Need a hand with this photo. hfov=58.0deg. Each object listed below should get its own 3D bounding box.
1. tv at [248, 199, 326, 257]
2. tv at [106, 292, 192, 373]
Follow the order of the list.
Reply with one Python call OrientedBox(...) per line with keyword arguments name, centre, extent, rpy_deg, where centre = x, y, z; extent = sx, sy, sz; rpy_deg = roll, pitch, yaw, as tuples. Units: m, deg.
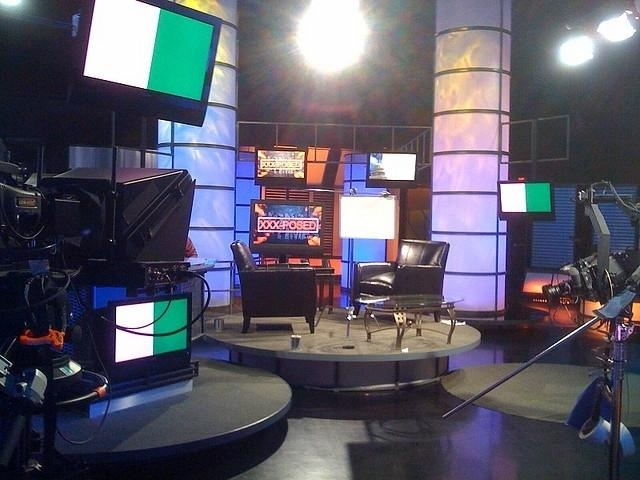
OrientedBox(name="tv", centre=(-0.469, -0.166, 8.175), extent=(0.763, 0.669, 0.274), rpy_deg=(0, 2, -7))
OrientedBox(name="tv", centre=(-1.289, 0.681, 4.263), extent=(0.075, 0.502, 0.708), rpy_deg=(0, 1, 34))
